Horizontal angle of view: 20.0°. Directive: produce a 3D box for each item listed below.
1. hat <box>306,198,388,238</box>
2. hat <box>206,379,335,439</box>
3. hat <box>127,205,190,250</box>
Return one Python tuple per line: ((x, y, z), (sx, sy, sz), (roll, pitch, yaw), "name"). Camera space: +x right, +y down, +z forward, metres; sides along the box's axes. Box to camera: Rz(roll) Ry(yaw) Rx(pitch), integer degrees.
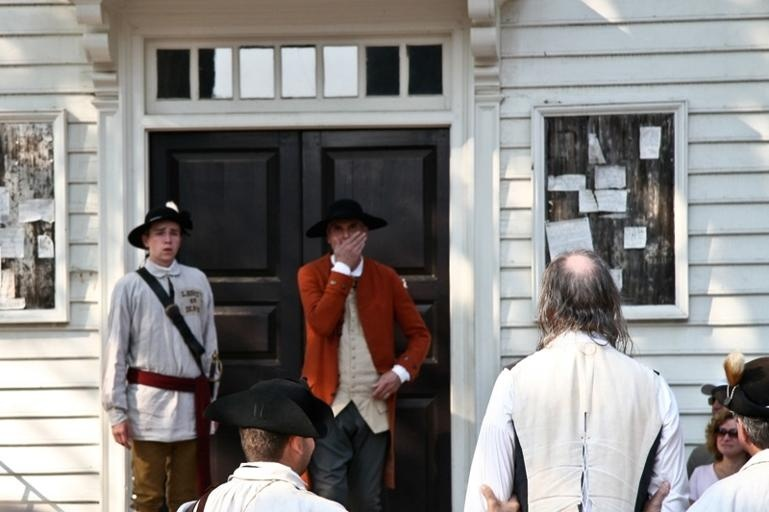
((-0.308, -0.304, 15.616), (0.634, 0.172, 0.630), (-1, 12, -9), "hat")
((-0.725, 0.929, 14.182), (0.886, 0.278, 0.802), (0, 3, -43), "hat")
((-1.621, -0.259, 15.723), (0.483, 0.162, 0.392), (-14, -7, -19), "hat")
